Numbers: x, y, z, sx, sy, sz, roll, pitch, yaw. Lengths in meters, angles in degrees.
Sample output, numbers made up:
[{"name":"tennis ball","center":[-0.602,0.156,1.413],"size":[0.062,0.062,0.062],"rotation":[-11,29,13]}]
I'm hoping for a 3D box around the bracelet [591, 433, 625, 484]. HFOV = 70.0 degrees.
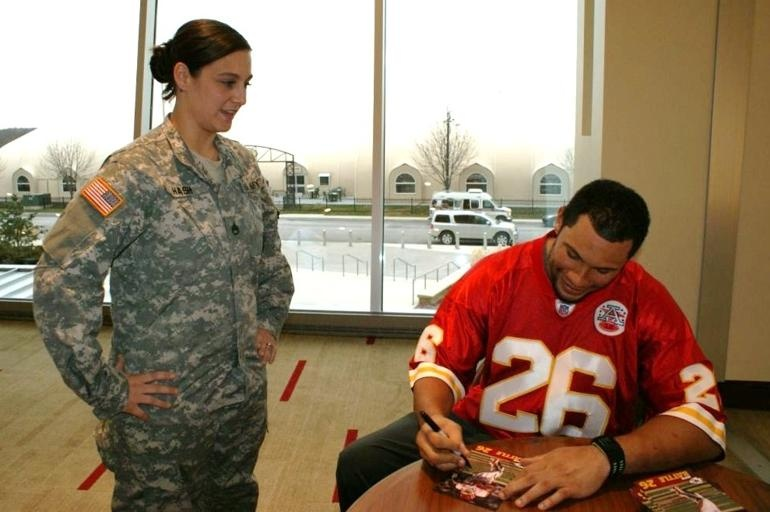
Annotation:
[{"name":"bracelet","center":[0.792,0.717,1.971],"size":[0.075,0.123,0.113],"rotation":[-17,16,-27]}]
